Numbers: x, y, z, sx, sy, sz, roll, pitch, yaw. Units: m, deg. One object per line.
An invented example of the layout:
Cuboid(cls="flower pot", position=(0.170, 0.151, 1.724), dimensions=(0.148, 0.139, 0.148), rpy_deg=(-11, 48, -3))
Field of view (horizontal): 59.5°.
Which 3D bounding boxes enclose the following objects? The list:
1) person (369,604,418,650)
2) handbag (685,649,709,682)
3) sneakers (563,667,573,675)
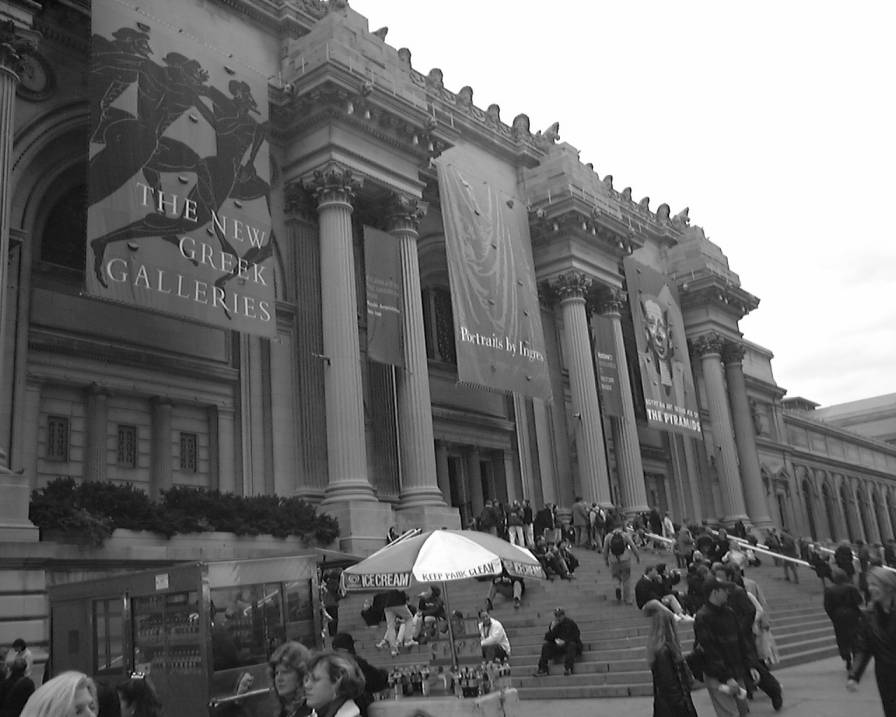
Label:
Cuboid(cls="person", position=(-0.959, 5.370, 16.190), dimensions=(0.981, 1.245, 1.018), rpy_deg=(-13, -20, 38))
Cuboid(cls="handbag", position=(3.012, 3.678, 9.468), dimensions=(0.100, 0.395, 0.410), rpy_deg=(-1, -28, 40))
Cuboid(cls="sneakers", position=(2.174, 5.636, 14.169), dimensions=(0.141, 0.137, 0.092), rpy_deg=(18, -30, -15))
